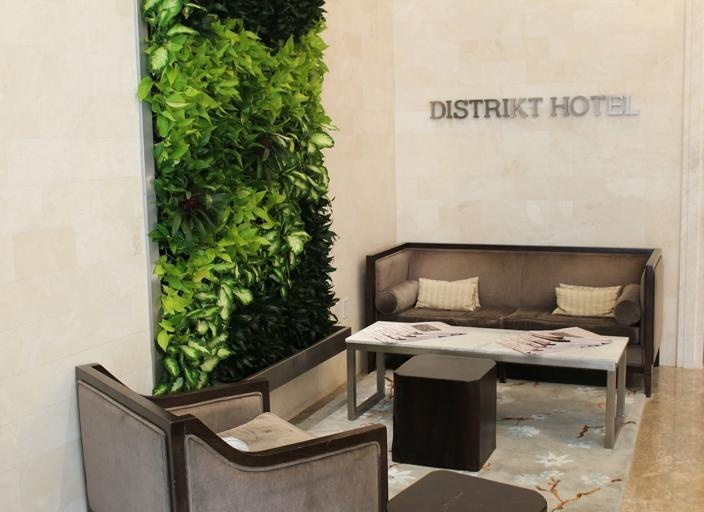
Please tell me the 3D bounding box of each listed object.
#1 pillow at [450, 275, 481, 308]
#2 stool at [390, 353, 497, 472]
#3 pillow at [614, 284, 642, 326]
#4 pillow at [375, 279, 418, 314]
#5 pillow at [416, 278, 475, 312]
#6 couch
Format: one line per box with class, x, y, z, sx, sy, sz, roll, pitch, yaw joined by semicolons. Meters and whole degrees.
pillow;1.056;0.340;5.830;0.253;0.269;0.082;6;-16;-33
stool;0.633;0.948;4.261;0.679;0.632;0.654;3;10;23
pillow;2.258;0.401;5.181;0.196;0.281;0.362;4;12;25
pillow;0.437;0.393;5.813;0.235;0.239;0.506;7;13;37
pillow;0.892;0.359;5.858;0.555;0.296;0.174;2;-3;14
couch;1.443;0.494;5.731;2.388;1.055;1.059;1;8;22
